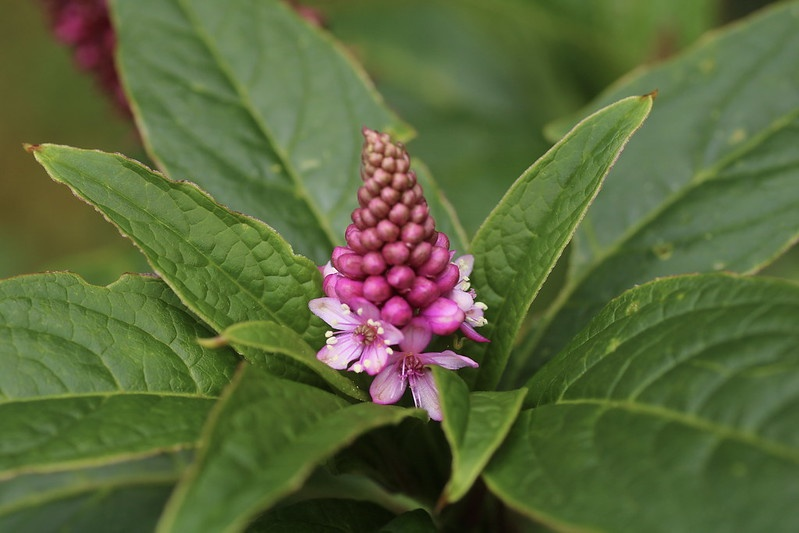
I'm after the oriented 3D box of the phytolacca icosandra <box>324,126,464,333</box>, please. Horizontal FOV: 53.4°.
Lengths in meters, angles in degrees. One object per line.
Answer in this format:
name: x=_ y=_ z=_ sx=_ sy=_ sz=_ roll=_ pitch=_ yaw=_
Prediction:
phytolacca icosandra: x=-0.057 y=-0.106 z=2.791 sx=0.475 sy=0.745 sz=0.259 roll=-12 pitch=10 yaw=-6
